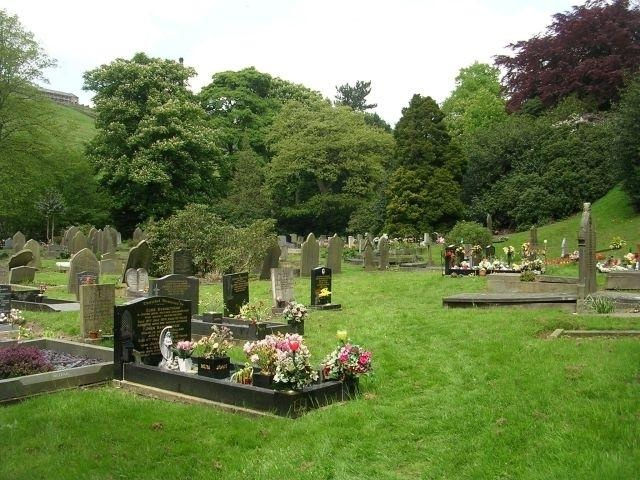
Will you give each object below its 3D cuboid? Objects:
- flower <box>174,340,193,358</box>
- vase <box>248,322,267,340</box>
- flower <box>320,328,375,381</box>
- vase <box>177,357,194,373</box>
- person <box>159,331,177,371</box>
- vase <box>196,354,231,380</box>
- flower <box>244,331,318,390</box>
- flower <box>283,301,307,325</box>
[{"bbox_3d":[-2.666,2.129,12.170,0.319,0.353,0.333,-1,-1,18],"label":"flower"},{"bbox_3d":[-1.446,2.095,14.465,0.355,0.510,0.479,-2,3,-34],"label":"vase"},{"bbox_3d":[0.552,2.186,11.454,0.922,1.091,0.886,-7,-9,21],"label":"flower"},{"bbox_3d":[-2.627,2.415,12.143,0.254,0.395,0.313,-2,-2,17],"label":"vase"},{"bbox_3d":[-3.089,2.147,12.425,0.344,0.701,0.818,-6,11,-15],"label":"person"},{"bbox_3d":[-2.015,2.408,11.672,0.429,0.334,0.450,-5,-7,34],"label":"vase"},{"bbox_3d":[-0.714,2.079,10.904,0.851,0.962,1.276,-10,12,-32],"label":"flower"},{"bbox_3d":[-0.563,1.687,14.338,0.498,0.519,0.487,1,-2,-40],"label":"flower"}]
